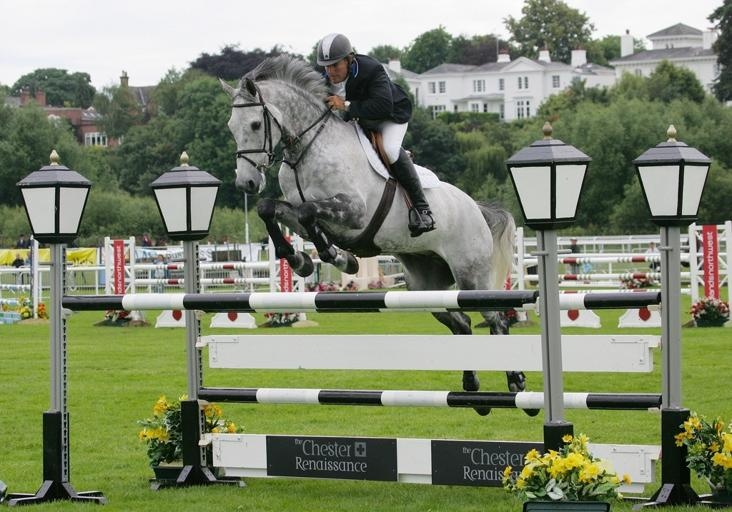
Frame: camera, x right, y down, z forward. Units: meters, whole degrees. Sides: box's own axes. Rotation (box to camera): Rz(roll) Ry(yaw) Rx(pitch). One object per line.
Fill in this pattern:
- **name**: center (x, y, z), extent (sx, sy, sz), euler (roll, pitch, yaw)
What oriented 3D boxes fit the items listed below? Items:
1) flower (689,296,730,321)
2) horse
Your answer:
- **flower**: center (10.255, 1.584, 53.174), extent (0.789, 0.434, 0.772), euler (1, 4, 26)
- **horse**: center (-0.805, -1.930, 49.188), extent (6.279, 11.012, 8.403), euler (3, 11, 42)
